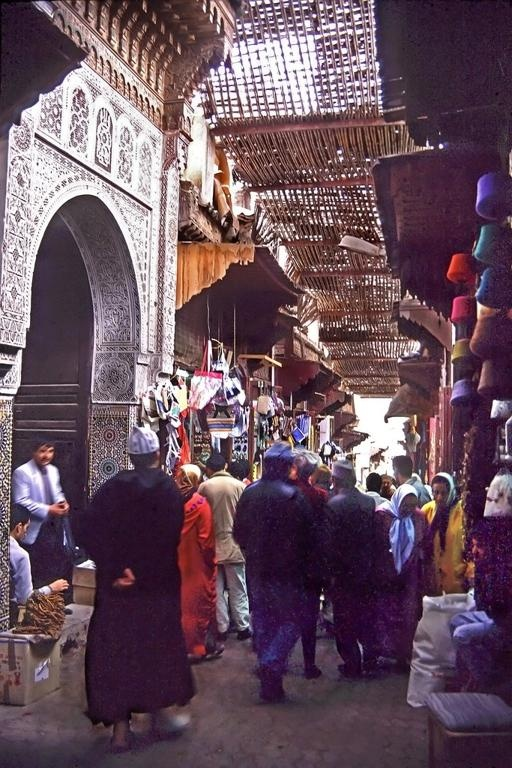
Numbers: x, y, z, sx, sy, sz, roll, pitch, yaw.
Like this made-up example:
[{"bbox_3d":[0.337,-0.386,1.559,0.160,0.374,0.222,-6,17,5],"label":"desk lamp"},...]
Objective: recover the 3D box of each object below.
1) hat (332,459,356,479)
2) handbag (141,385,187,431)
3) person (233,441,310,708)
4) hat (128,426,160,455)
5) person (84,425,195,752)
[{"bbox_3d":[0.501,0.486,3.969,0.117,0.087,0.088,8,6,7],"label":"hat"},{"bbox_3d":[-0.751,0.165,5.254,0.140,0.353,0.237,5,7,41],"label":"handbag"},{"bbox_3d":[0.106,0.915,3.564,0.358,1.193,0.467,-1,-9,-6],"label":"person"},{"bbox_3d":[-0.469,0.230,2.895,0.086,0.094,0.136,-1,9,-1],"label":"hat"},{"bbox_3d":[-0.463,0.807,2.903,0.412,1.320,0.285,-1,9,-12],"label":"person"}]
